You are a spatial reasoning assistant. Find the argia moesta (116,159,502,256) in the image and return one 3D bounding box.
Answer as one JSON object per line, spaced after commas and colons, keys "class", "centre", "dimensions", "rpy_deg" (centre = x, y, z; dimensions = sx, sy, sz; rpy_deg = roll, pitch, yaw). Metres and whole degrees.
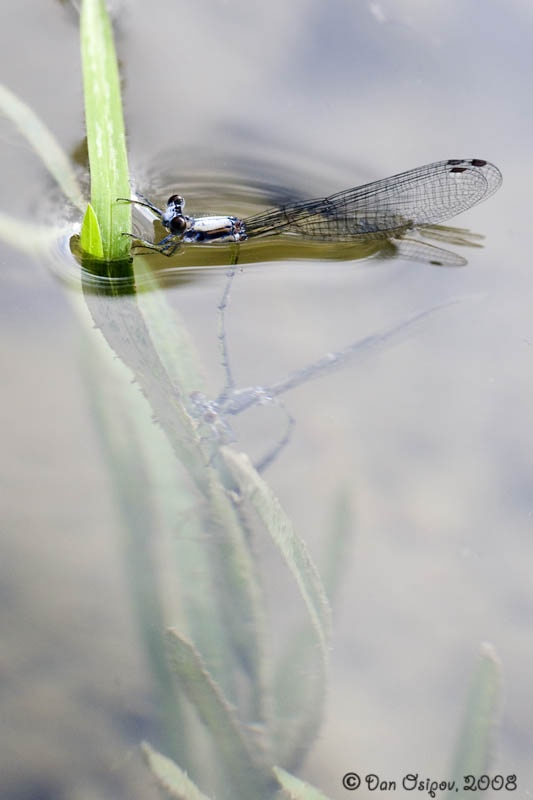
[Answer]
{"class": "argia moesta", "centre": [0.078, -0.389, 1.593], "dimensions": [0.857, 0.187, 0.173], "rpy_deg": [-1, 42, -2]}
